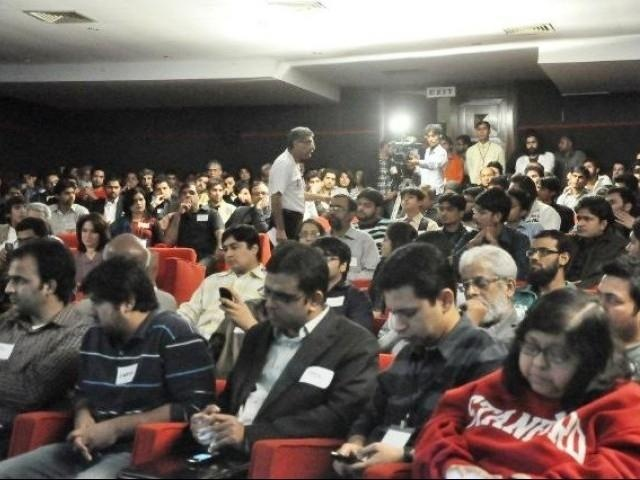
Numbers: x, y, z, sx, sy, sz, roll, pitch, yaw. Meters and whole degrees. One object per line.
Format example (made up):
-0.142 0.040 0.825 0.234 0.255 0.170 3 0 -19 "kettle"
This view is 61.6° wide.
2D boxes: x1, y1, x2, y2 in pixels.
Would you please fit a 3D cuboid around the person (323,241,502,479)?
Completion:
0.355 0.394 2.216 0.775 0.985 0.731 1 -5 -23 "person"
